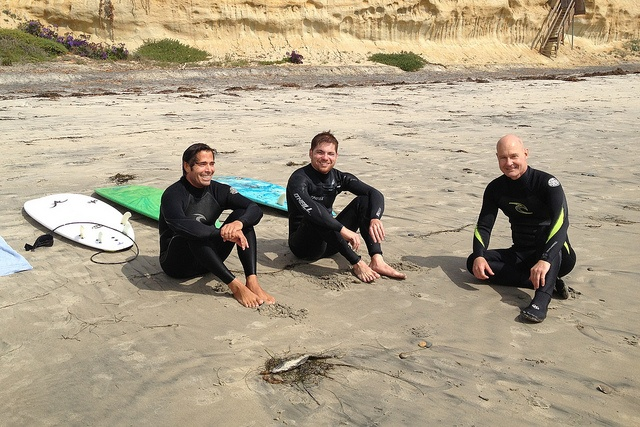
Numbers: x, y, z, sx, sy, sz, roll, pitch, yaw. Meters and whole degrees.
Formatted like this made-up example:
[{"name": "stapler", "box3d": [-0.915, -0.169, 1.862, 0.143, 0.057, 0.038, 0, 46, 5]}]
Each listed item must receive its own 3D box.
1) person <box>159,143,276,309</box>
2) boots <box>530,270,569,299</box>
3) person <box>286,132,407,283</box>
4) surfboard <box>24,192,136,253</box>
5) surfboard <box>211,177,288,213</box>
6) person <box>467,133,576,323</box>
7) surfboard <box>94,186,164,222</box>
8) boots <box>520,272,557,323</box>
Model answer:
[{"name": "person", "box3d": [-0.978, 0.079, 5.199, 1.047, 1.466, 0.744, 17, 30, 38]}, {"name": "boots", "box3d": [2.141, 0.671, 5.007, 0.242, 0.227, 0.617, -6, 8, 12]}, {"name": "person", "box3d": [0.283, -0.080, 5.598, 1.612, 1.261, 1.035, 16, 21, 35]}, {"name": "surfboard", "box3d": [-2.894, 0.089, 6.512, 1.450, 0.200, 0.748, 22, 22, 33]}, {"name": "surfboard", "box3d": [-0.877, -0.325, 7.500, 1.612, 0.154, 0.423, 13, 22, 32]}, {"name": "person", "box3d": [1.919, 0.072, 5.100, 0.975, 1.556, 1.105, -18, 28, -33]}, {"name": "surfboard", "box3d": [-2.509, -0.208, 7.200, 1.019, 0.133, 0.619, 16, 20, 34]}, {"name": "boots", "box3d": [1.999, 0.762, 4.866, 0.173, 0.353, 0.400, 13, 25, 30]}]
